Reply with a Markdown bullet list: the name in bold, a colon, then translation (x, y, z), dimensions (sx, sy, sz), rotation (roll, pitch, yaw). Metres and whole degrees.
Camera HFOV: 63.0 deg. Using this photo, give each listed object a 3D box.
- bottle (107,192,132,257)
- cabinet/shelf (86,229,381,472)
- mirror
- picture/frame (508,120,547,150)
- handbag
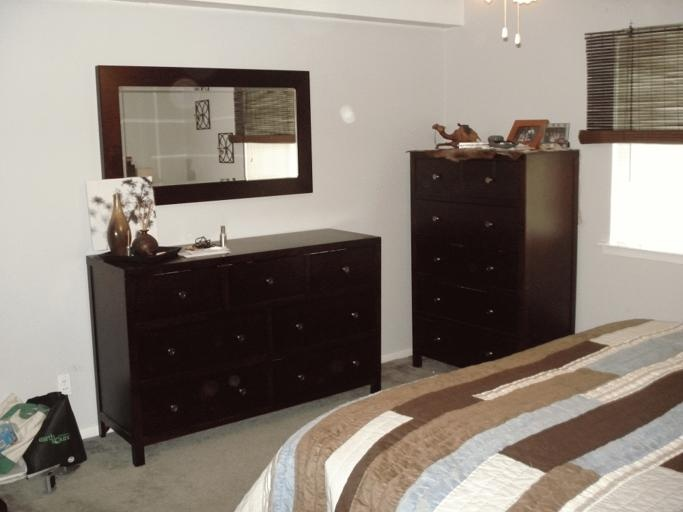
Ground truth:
- **bottle**: translation (-1.271, -0.178, 3.210), dimensions (0.119, 0.337, 0.142), rotation (3, 14, 13)
- **cabinet/shelf**: translation (-0.702, 0.545, 3.208), dimensions (1.254, 0.811, 0.442), rotation (-8, 11, -37)
- **mirror**: translation (-0.856, -0.785, 3.634), dimensions (1.296, 0.839, 0.261), rotation (-6, 15, -22)
- **picture/frame**: translation (1.367, -0.874, 3.977), dimensions (0.258, 0.194, 0.404), rotation (-2, 13, -5)
- **handbag**: translation (-1.667, 0.970, 3.193), dimensions (0.399, 0.400, 0.409), rotation (6, -6, -41)
